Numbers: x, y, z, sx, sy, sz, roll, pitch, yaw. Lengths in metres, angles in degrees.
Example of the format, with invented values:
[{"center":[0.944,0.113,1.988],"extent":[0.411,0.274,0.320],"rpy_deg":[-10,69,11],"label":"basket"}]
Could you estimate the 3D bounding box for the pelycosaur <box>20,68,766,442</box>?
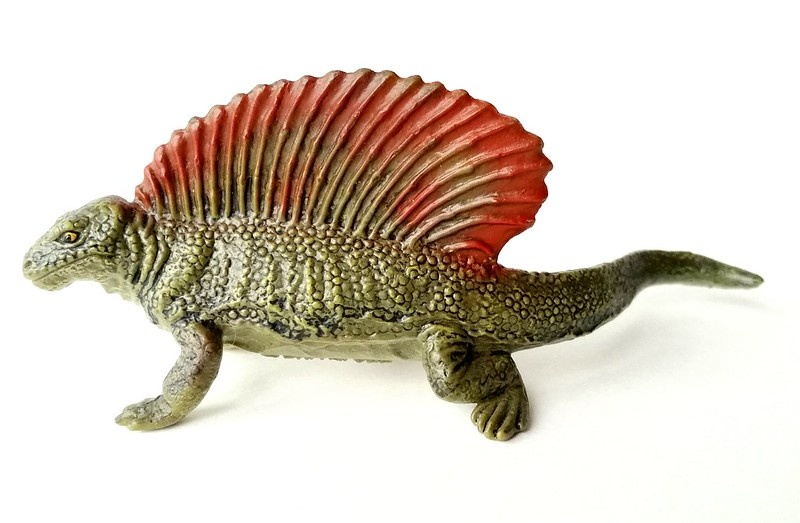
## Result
[{"center":[-0.161,0.062,2.903],"extent":[1.364,0.840,0.901],"rpy_deg":[-22,-42,12],"label":"pelycosaur"}]
